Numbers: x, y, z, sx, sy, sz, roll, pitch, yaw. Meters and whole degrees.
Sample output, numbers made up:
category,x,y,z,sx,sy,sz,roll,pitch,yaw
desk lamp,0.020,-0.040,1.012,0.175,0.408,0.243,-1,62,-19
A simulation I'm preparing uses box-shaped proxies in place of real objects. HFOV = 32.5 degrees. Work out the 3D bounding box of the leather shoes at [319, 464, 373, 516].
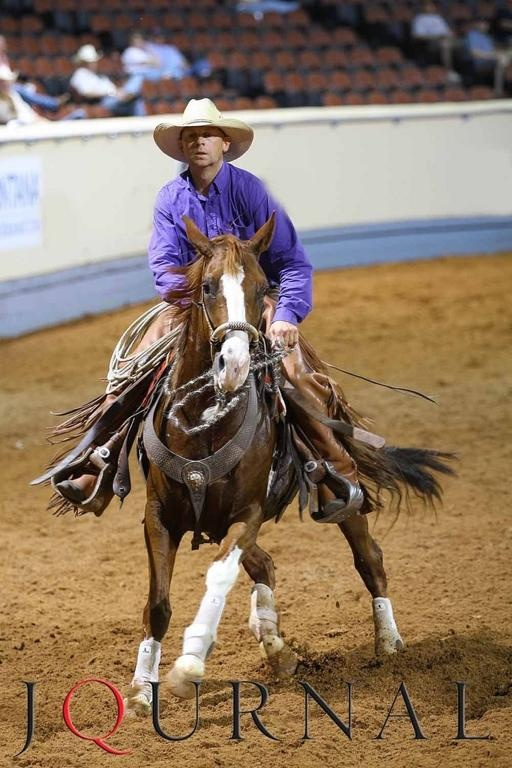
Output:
category,x,y,z,sx,sy,sz,roll,pitch,yaw
leather shoes,0.418,0.504,4.100,0.297,0.113,0.216,37,-12,16

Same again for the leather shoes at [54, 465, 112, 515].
category,x,y,z,sx,sy,sz,roll,pitch,yaw
leather shoes,-0.745,0.481,3.899,0.236,0.262,0.310,-5,5,-4

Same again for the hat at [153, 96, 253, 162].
category,x,y,z,sx,sy,sz,roll,pitch,yaw
hat,-0.234,-1.301,4.318,0.437,0.165,0.436,-1,-19,1

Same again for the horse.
category,x,y,z,sx,sy,sz,roll,pitch,yaw
horse,0.067,0.556,4.428,0.909,1.795,3.233,-4,-14,29
